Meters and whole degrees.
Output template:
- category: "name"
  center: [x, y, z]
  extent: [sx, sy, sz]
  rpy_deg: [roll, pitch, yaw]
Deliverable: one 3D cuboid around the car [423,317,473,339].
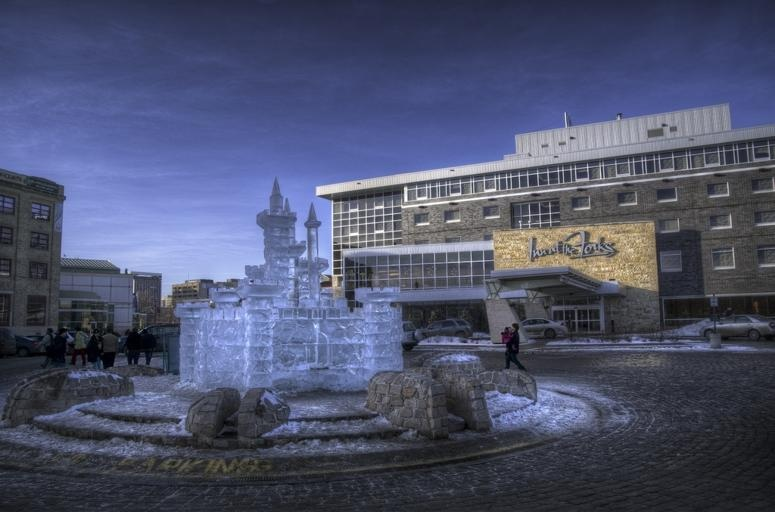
- category: "car"
  center: [4.383, 5.173, 40.905]
  extent: [3.530, 1.008, 1.406]
  rpy_deg: [1, -8, 1]
